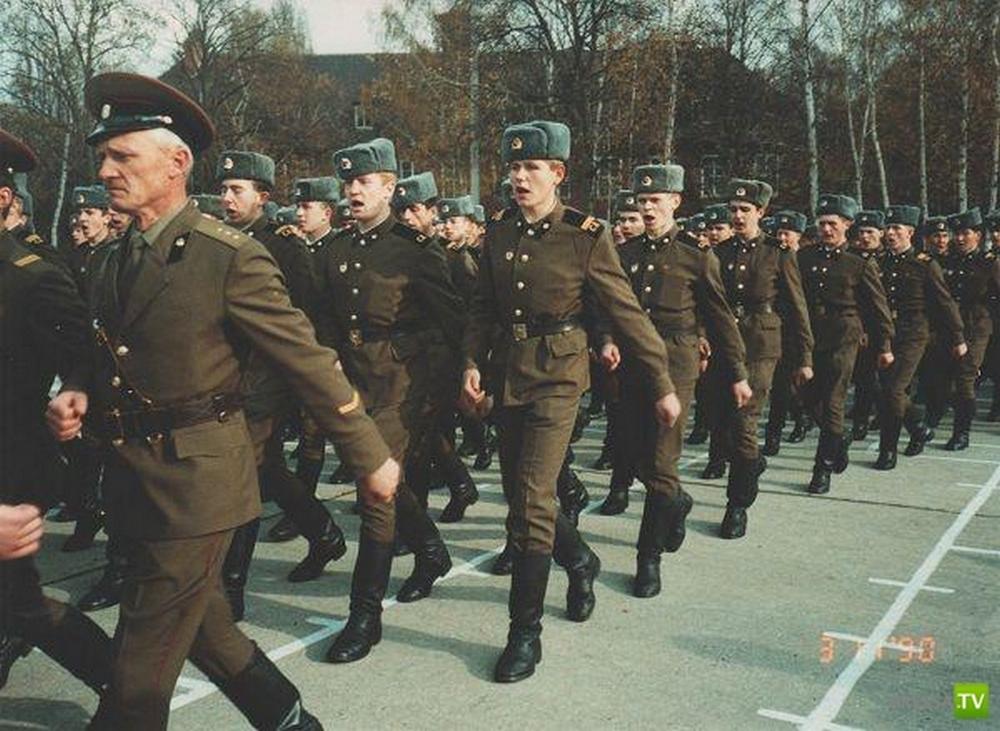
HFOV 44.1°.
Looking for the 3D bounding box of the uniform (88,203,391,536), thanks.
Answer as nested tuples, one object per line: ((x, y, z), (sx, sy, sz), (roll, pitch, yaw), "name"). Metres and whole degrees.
((-1.754, 0.024, 6.739), (2.439, 1.738, 0.855), (-3, 2, 34), "uniform")

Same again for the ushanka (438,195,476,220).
((-0.477, -1.599, 12.562), (0.258, 0.192, 0.356), (-2, 11, 11), "ushanka")

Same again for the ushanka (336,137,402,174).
((-0.895, -1.422, 8.505), (0.272, 0.185, 0.364), (-9, 10, 6), "ushanka")

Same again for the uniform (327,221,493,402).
((-0.632, -0.319, 8.358), (1.306, 1.153, 0.613), (0, 3, 23), "uniform")

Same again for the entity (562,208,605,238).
((0.539, -0.930, 8.064), (0.250, 0.059, 0.178), (23, 36, -9), "entity")

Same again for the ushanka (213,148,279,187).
((-1.858, -1.452, 9.209), (0.283, 0.179, 0.333), (2, 2, 16), "ushanka")

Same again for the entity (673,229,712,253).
((1.488, -0.972, 9.529), (0.152, 0.067, 0.249), (29, 1, -43), "entity")

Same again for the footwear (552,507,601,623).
((0.549, 1.431, 8.356), (0.199, 0.426, 0.452), (7, 14, 2), "footwear")

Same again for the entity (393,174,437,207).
((-0.668, -1.421, 10.149), (0.351, 0.195, 0.255), (-18, 21, -37), "entity")

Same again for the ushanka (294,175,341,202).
((-1.611, -1.551, 10.970), (0.291, 0.172, 0.291), (-1, 6, 21), "ushanka")

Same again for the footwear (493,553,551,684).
((0.125, 1.550, 7.730), (0.244, 0.730, 0.485), (5, 16, 21), "footwear")

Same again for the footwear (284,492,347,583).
((-1.380, 1.312, 8.968), (0.225, 0.497, 0.468), (-25, -43, 33), "footwear")

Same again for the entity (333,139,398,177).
((-0.897, -1.409, 8.515), (0.281, 0.194, 0.382), (-8, 14, 18), "entity")

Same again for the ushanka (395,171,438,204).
((-0.678, -1.439, 10.122), (0.330, 0.186, 0.246), (-17, 22, -33), "ushanka")

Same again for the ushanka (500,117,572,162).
((0.248, -1.447, 8.065), (0.349, 0.176, 0.292), (0, 2, -22), "ushanka")

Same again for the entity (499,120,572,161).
((0.261, -1.449, 8.069), (0.347, 0.175, 0.290), (0, 1, -42), "entity")

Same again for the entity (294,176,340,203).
((-1.615, -1.551, 10.949), (0.298, 0.174, 0.291), (-4, 6, -10), "entity")

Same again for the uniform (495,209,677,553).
((0.430, 0.006, 8.157), (1.163, 2.065, 1.108), (-2, 15, -6), "uniform")
